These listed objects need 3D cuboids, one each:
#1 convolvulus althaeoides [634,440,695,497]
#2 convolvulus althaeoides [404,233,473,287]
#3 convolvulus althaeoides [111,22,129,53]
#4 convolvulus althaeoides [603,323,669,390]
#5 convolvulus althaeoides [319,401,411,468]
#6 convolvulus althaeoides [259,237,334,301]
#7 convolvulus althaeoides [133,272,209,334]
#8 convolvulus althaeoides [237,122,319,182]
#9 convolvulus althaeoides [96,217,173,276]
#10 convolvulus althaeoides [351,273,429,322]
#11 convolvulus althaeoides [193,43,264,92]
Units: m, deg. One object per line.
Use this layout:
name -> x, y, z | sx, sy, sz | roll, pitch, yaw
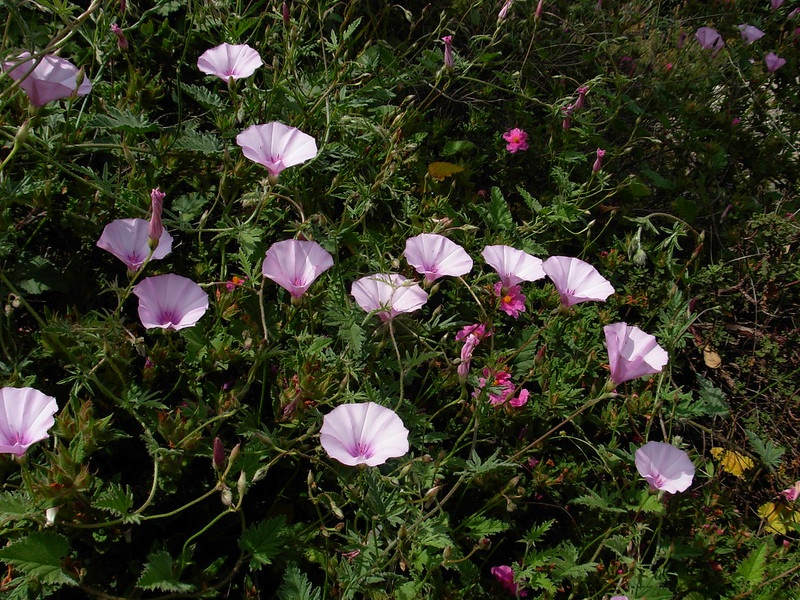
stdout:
convolvulus althaeoides -> 1.178, 0.791, 3.312 | 0.239, 0.136, 0.253 | 23, 55, -1
convolvulus althaeoides -> 0.145, -0.201, 3.419 | 0.272, 0.283, 0.153 | 4, 78, 2
convolvulus althaeoides -> -1.274, -1.211, 3.281 | 0.047, 0.141, 0.148 | -9, 61, -23
convolvulus althaeoides -> 1.000, 0.298, 3.258 | 0.323, 0.350, 0.251 | 15, 101, 20
convolvulus althaeoides -> -0.196, 0.548, 2.926 | 0.401, 0.429, 0.222 | -7, 95, -19
convolvulus althaeoides -> -0.438, -0.108, 3.162 | 0.289, 0.308, 0.241 | -1, 78, 17
convolvulus althaeoides -> -0.947, 0.043, 2.965 | 0.293, 0.185, 0.367 | -2, 20, 9
convolvulus althaeoides -> -0.541, -0.675, 3.226 | 0.284, 0.151, 0.314 | -7, 54, -23
convolvulus althaeoides -> -1.161, -0.197, 3.152 | 0.280, 0.317, 0.179 | -9, 71, -7
convolvulus althaeoides -> -0.077, -0.020, 3.245 | 0.289, 0.326, 0.148 | -8, 82, -15
convolvulus althaeoides -> -0.808, -1.133, 3.475 | 0.208, 0.228, 0.118 | 17, 85, -13
